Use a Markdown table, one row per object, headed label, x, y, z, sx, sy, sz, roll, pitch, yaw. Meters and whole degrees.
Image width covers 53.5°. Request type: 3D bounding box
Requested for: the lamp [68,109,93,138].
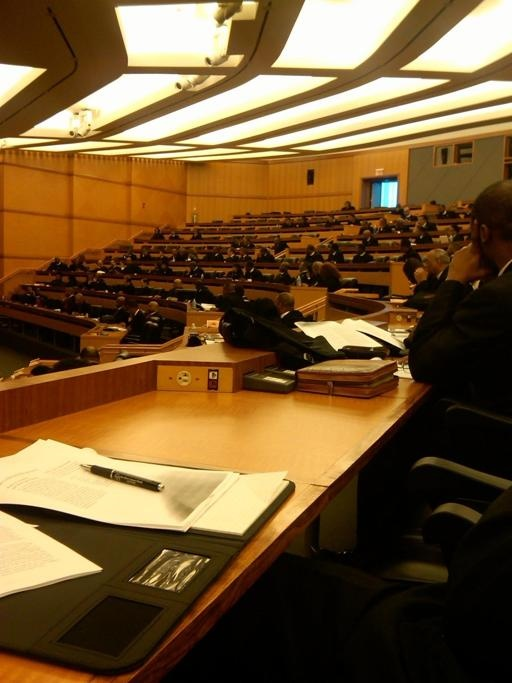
| label | x | y | z | sx | sy | sz | roll | pitch | yaw |
| --- | --- | --- | --- | --- | --- | --- | --- | --- | --- |
| lamp | -4.210 | -5.244 | 12.296 | 0.521 | 0.574 | 1.000 | 1 | 6 | -18 |
